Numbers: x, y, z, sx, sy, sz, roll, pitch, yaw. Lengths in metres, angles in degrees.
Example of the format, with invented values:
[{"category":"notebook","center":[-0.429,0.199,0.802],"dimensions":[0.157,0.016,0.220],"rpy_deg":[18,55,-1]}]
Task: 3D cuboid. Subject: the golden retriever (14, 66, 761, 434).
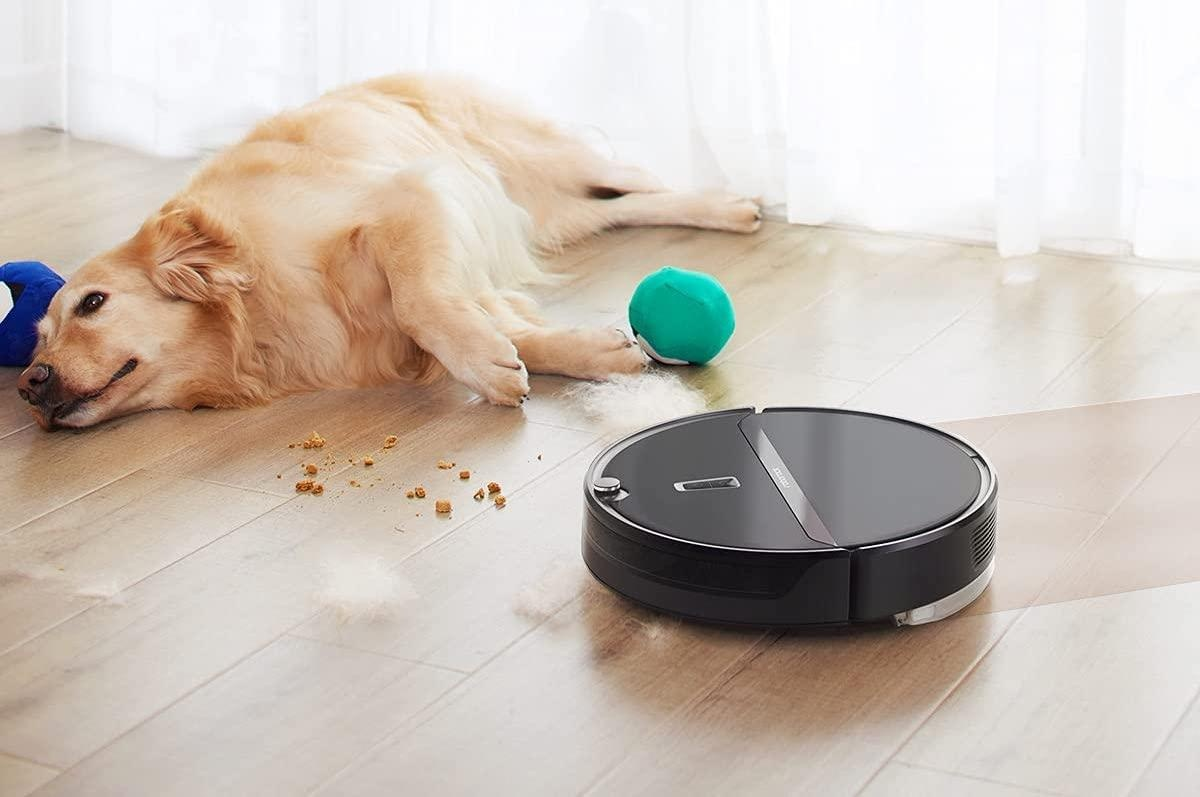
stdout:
[{"category":"golden retriever","center":[-0.492,-0.441,2.602],"dimensions":[1.089,0.678,1.508],"rpy_deg":[5,22,22]}]
